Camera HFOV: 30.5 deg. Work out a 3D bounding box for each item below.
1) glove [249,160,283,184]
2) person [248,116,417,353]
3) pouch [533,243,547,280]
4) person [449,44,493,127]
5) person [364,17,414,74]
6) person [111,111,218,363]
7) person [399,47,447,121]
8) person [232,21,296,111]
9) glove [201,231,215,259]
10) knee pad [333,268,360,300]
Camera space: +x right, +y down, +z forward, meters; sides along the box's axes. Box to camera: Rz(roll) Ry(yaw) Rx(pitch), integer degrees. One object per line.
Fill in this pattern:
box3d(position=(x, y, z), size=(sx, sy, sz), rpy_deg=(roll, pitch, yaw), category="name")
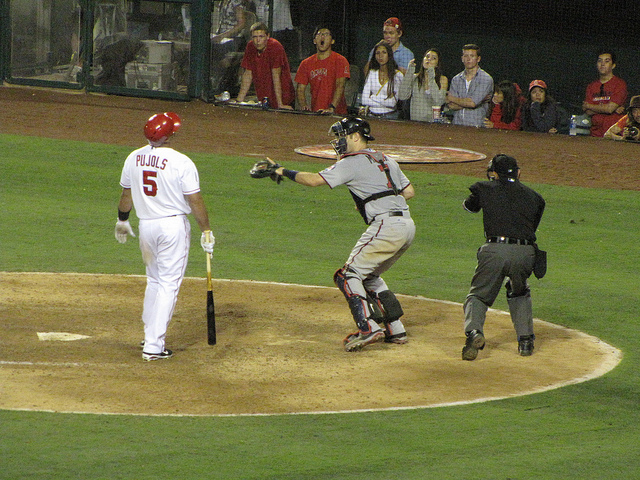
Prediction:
box3d(position=(-0.519, -0.669, 11.417), size=(0.295, 0.218, 0.305), rpy_deg=(4, 7, -3), category="glove")
box3d(position=(0.311, -0.051, 11.337), size=(1.336, 2.249, 0.660), rpy_deg=(6, 8, 2), category="person")
box3d(position=(2.112, 0.212, 11.255), size=(0.125, 0.324, 0.309), rpy_deg=(8, 8, 13), category="pouch")
box3d(position=(2.373, -2.381, 18.352), size=(0.679, 1.222, 1.338), rpy_deg=(6, 7, 5), category="person")
box3d(position=(1.231, -3.089, 18.652), size=(0.530, 0.865, 0.436), rpy_deg=(6, 8, 7), category="person")
box3d(position=(-1.507, -0.030, 11.000), size=(0.586, 2.298, 0.819), rpy_deg=(-2, 11, -44), category="person")
box3d(position=(1.665, -2.458, 18.751), size=(0.759, 1.119, 1.072), rpy_deg=(6, 7, 3), category="person")
box3d(position=(-0.827, -2.847, 19.494), size=(0.992, 1.377, 1.528), rpy_deg=(5, 7, -4), category="person")
box3d(position=(-1.064, 0.064, 11.130), size=(0.184, 0.217, 0.091), rpy_deg=(1, 11, 14), category="glove")
box3d(position=(0.242, 0.424, 11.319), size=(0.249, 0.295, 0.111), rpy_deg=(12, 10, 42), category="knee pad")
